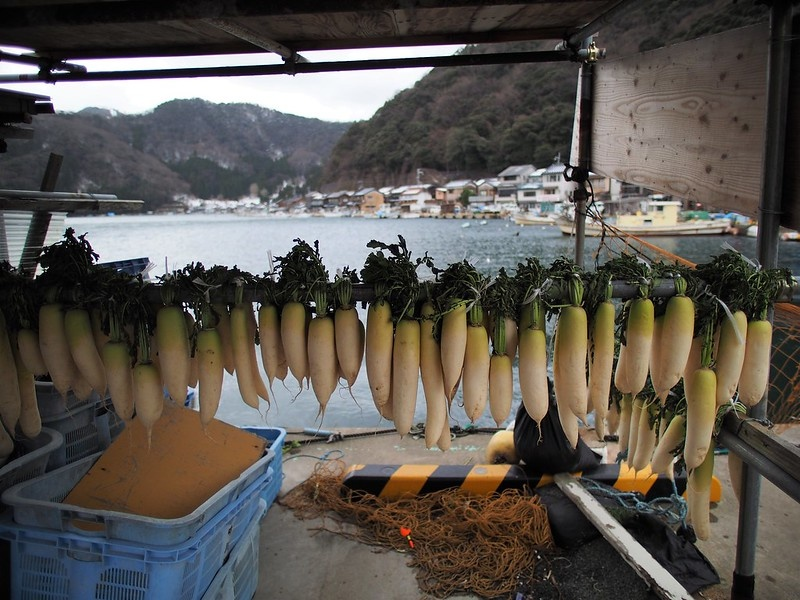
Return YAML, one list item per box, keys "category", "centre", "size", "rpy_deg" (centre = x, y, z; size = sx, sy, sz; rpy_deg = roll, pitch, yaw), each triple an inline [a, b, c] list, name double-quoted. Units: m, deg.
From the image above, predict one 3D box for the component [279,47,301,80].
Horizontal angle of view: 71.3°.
- category: "component"
  centre: [-0.657, -1.416, 3.343]
  size: [0.118, 0.172, 0.226]
  rpy_deg: [-1, 11, -6]

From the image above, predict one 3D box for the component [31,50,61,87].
- category: "component"
  centre: [-2.318, -1.497, 3.651]
  size: [0.296, 0.191, 0.141]
  rpy_deg: [6, 13, 27]
